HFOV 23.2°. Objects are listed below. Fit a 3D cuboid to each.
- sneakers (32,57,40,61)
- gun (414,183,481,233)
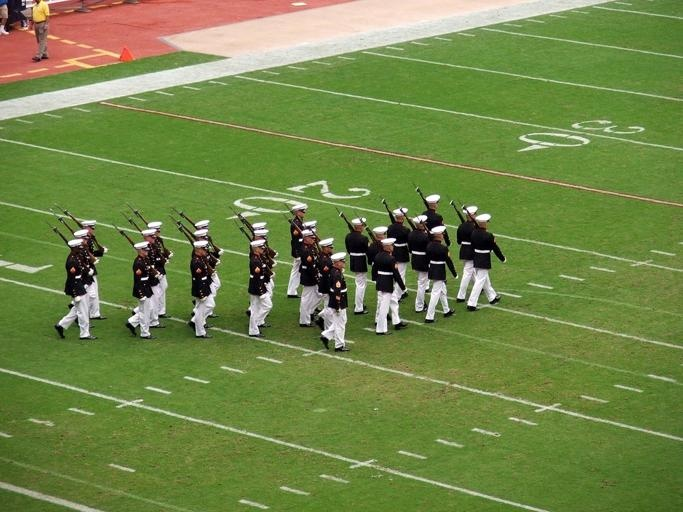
[{"bbox_3d":[-9.496,-5.942,50.736,0.225,0.112,0.367,1,2,-10],"label":"sneakers"},{"bbox_3d":[1.749,-0.929,36.268,1.530,0.917,1.033,7,24,21],"label":"gun"}]
